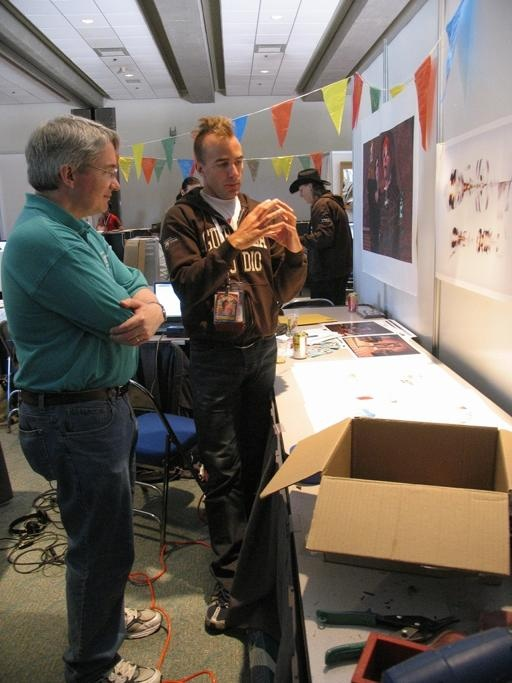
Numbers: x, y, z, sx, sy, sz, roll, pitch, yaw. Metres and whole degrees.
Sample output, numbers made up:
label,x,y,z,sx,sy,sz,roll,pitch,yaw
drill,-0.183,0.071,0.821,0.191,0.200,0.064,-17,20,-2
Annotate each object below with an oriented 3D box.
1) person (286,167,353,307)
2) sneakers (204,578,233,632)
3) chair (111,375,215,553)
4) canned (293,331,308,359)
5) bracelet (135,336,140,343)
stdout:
label,x,y,z,sx,sy,sz,roll,pitch,yaw
person,0.528,-0.835,4.295,0.487,1.253,0.549,6,12,6
sneakers,-0.120,0.922,1.764,0.078,0.095,0.234,4,-9,1
chair,-0.421,0.502,2.353,0.442,0.758,0.470,5,16,-3
canned,0.197,0.018,2.266,0.076,0.134,0.104,1,9,4
bracelet,-0.301,-0.005,1.290,0.004,0.014,0.011,5,28,22
